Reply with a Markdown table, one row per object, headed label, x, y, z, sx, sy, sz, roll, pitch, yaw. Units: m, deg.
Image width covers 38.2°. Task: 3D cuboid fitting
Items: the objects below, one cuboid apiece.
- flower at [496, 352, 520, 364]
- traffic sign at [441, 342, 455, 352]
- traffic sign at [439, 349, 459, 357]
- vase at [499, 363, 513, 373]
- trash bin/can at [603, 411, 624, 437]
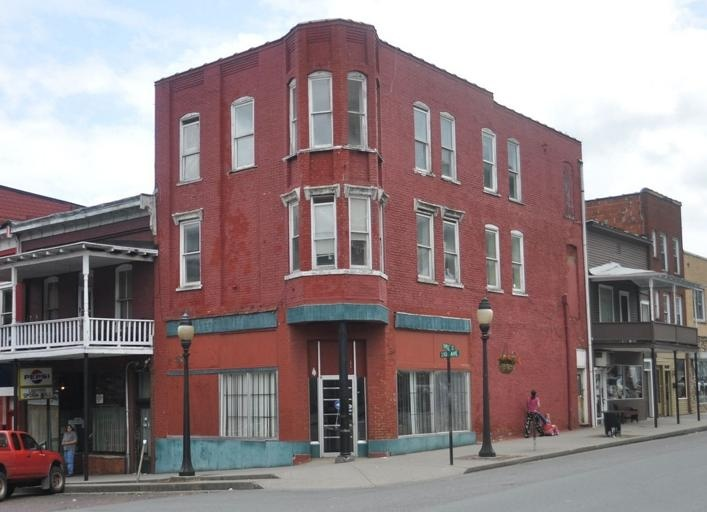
| label | x | y | z | sx | sy | sz | roll | pitch | yaw |
| --- | --- | --- | --- | --- | --- | --- | --- | --- | --- |
| flower | 6.145 | 4.156 | 41.176 | 0.581 | 0.372 | 0.621 | 0 | -3 | 16 |
| traffic sign | 3.169 | 3.090 | 34.645 | 0.448 | 0.315 | 0.234 | 0 | 0 | -5 |
| traffic sign | 3.227 | 3.327 | 34.790 | 0.530 | 0.300 | 0.664 | 4 | 4 | 11 |
| vase | 6.084 | 4.525 | 41.095 | 0.494 | 0.446 | 0.492 | 3 | 4 | 7 |
| trash bin/can | 10.589 | 6.818 | 41.764 | 0.928 | 1.123 | 0.953 | -1 | -1 | -7 |
